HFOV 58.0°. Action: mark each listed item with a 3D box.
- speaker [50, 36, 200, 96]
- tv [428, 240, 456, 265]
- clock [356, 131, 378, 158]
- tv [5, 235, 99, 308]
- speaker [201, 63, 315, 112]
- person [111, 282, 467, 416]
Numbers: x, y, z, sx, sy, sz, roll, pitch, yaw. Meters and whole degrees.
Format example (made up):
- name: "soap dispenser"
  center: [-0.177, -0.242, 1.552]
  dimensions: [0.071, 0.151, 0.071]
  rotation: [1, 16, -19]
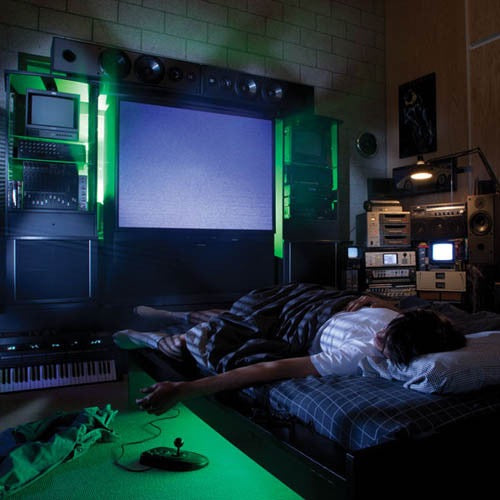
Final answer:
- name: "speaker"
  center: [-0.723, -1.325, 3.348]
  dimensions: [0.160, 0.237, 0.951]
  rotation: [7, 15, 30]
- name: "tv"
  center: [1.818, 0.029, 4.325]
  dimensions: [0.177, 0.300, 0.319]
  rotation: [1, 0, -39]
- name: "clock"
  center: [1.314, -1.198, 5.168]
  dimensions: [0.277, 0.281, 0.065]
  rotation: [10, -3, -32]
- name: "tv"
  center: [-1.244, 0.117, 2.905]
  dimensions: [0.680, 0.589, 0.352]
  rotation: [0, -3, -25]
- name: "speaker"
  center: [0.079, -1.263, 3.613]
  dimensions: [1.049, 0.294, 0.127]
  rotation: [4, -3, -28]
- name: "person"
  center: [0.184, 0.319, 1.617]
  dimensions: [0.707, 0.221, 0.801]
  rotation: [-14, 13, -42]
